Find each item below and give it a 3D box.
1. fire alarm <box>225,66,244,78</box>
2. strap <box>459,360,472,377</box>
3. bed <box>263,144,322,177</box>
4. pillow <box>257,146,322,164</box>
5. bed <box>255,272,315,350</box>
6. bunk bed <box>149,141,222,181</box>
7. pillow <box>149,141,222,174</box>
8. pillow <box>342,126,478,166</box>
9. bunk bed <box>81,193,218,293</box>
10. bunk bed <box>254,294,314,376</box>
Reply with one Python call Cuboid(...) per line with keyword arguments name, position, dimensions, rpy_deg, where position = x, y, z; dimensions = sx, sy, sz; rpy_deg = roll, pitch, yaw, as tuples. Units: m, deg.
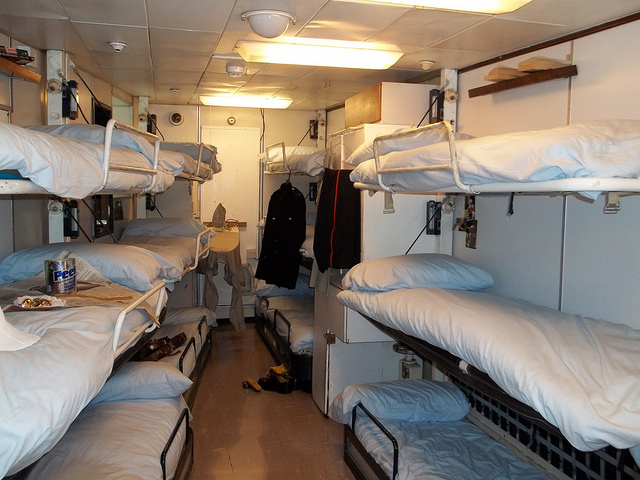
Cuboid(name="fire alarm", position=(-0.795, -1.524, 4.647), dimensions=(0.131, 0.059, 0.127), rpy_deg=(0, 7, -6))
Cuboid(name="strap", position=(0.791, 0.701, 2.753), dimensions=(0.069, 0.067, 0.070), rpy_deg=(14, -5, -20))
Cuboid(name="bed", position=(-0.382, -0.977, 6.341), dimensions=(0.664, 0.431, 2.485), rpy_deg=(0, 9, -6))
Cuboid(name="pillow", position=(-0.441, -1.158, 6.692), dimensions=(0.504, 0.138, 0.555), rpy_deg=(-7, 8, -25))
Cuboid(name="bed", position=(-0.330, 0.920, 6.476), dimensions=(0.831, 0.328, 1.359), rpy_deg=(1, 23, -31))
Cuboid(name="bunk bed", position=(-1.280, -0.819, 5.147), dimensions=(0.738, 0.510, 0.775), rpy_deg=(3, 5, -5))
Cuboid(name="pillow", position=(-1.373, -0.938, 5.319), dimensions=(0.525, 0.226, 0.606), rpy_deg=(5, 15, -1))
Cuboid(name="pillow", position=(0.554, -0.628, 3.301), dimensions=(0.423, 0.139, 0.480), rpy_deg=(-18, 4, -30))
Cuboid(name="bunk bed", position=(-1.501, 0.025, 4.865), dimensions=(0.924, 0.467, 1.076), rpy_deg=(2, 9, -3))
Cuboid(name="bunk bed", position=(-0.362, 1.096, 6.468), dimensions=(0.699, 0.555, 1.866), rpy_deg=(0, 11, -23))
